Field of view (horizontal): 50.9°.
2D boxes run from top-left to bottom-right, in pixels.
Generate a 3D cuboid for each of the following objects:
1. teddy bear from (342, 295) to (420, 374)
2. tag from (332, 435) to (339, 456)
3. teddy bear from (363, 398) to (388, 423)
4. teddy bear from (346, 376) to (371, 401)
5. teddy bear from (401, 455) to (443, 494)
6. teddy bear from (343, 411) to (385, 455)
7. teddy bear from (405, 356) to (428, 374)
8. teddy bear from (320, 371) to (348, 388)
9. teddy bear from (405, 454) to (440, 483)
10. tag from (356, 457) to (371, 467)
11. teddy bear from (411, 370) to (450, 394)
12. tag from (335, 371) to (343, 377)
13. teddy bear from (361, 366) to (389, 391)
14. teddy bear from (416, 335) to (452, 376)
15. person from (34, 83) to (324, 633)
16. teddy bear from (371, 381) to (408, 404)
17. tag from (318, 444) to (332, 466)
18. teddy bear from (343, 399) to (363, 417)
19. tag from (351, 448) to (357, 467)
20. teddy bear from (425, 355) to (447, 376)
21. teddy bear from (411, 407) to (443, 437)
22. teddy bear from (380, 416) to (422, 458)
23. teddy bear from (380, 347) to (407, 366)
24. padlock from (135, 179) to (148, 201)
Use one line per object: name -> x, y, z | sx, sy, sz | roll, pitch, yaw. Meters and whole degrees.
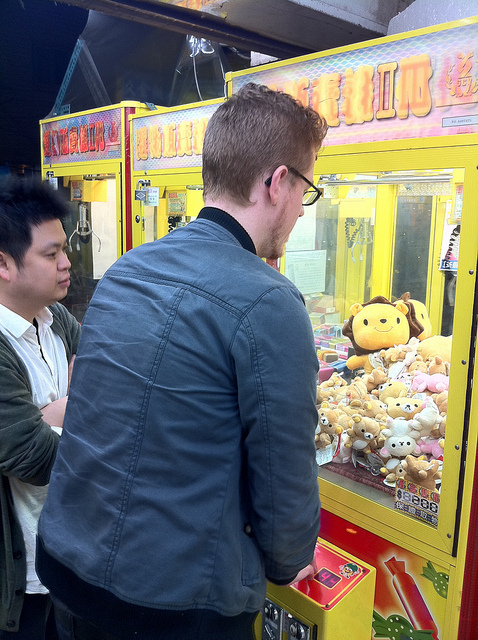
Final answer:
teddy bear -> 0.588, 0.109, 2.070 | 0.324, 0.389, 0.184 | -3, -13, 13
tag -> 0.334, 0.438, 1.754 | 0.019, 0.063, 0.026 | 11, 4, 39
teddy bear -> 0.477, 0.303, 1.765 | 0.067, 0.065, 0.067 | -39, 16, -14
teddy bear -> 0.457, 0.254, 1.905 | 0.026, 0.063, 0.063 | 40, -25, -22
teddy bear -> 0.543, 0.443, 1.528 | 0.116, 0.112, 0.089 | 15, -5, 32
teddy bear -> 0.430, 0.394, 1.744 | 0.130, 0.134, 0.082 | 19, 16, -10
teddy bear -> 0.665, 0.167, 1.865 | 0.057, 0.078, 0.059 | 17, -16, -34
teddy bear -> 0.386, 0.245, 2.073 | 0.099, 0.064, 0.075 | -4, 18, -24
teddy bear -> 0.539, 0.437, 1.482 | 0.078, 0.065, 0.087 | 10, -20, 24
tag -> 0.428, 0.488, 1.734 | 0.022, 0.018, 0.064 | 0, 6, -21
teddy bear -> 0.647, 0.206, 1.697 | 0.035, 0.062, 0.078 | 43, -21, -28
tag -> 0.430, 0.230, 2.158 | 0.027, 0.026, 0.027 | 0, 5, -10
teddy bear -> 0.520, 0.223, 1.930 | 0.094, 0.094, 0.070 | -5, 2, -8
teddy bear -> 0.705, 0.125, 1.801 | 0.072, 0.149, 0.154 | 37, -26, -29
person -> -0.075, 0.069, 0.835 | 0.491, 0.998, 0.317 | 0, 6, -20
teddy bear -> 0.547, 0.253, 1.814 | 0.081, 0.061, 0.063 | -32, 20, 18
tag -> 0.298, 0.466, 1.745 | 0.064, 0.057, 0.047 | 9, -11, -20
teddy bear -> 0.407, 0.310, 1.786 | 0.040, 0.061, 0.064 | -3, 23, -32
tag -> 0.404, 0.481, 1.758 | 0.008, 0.054, 0.013 | 6, -9, -32
teddy bear -> 0.671, 0.157, 1.755 | 0.063, 0.084, 0.057 | -7, 2, -18
teddy bear -> 0.596, 0.325, 1.594 | 0.079, 0.103, 0.044 | 2, 6, -3
teddy bear -> 0.530, 0.412, 1.642 | 0.132, 0.179, 0.089 | 0, 0, 8
teddy bear -> 0.598, 0.135, 1.971 | 0.088, 0.040, 0.056 | -15, 24, -29
padlock -> -0.549, -0.730, 2.818 | 0.046, 0.113, 0.146 | -1, 7, -28
